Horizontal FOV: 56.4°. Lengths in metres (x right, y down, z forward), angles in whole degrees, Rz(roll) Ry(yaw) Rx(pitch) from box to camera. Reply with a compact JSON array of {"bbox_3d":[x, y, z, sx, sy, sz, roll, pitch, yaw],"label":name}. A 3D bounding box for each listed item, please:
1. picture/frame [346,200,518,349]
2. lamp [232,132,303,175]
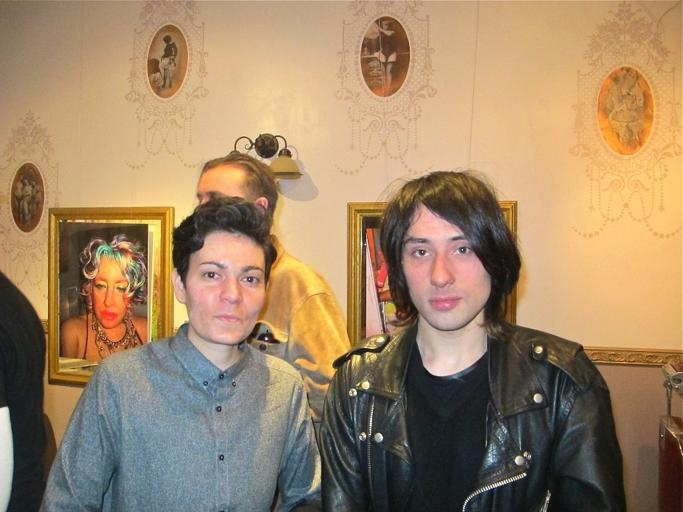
[{"bbox_3d":[0.468,0.119,3.178,0.973,1.173,0.079,0,-2,4],"label":"picture/frame"},{"bbox_3d":[-0.577,-0.754,4.804,0.511,0.351,0.214,-5,34,-19],"label":"lamp"}]
